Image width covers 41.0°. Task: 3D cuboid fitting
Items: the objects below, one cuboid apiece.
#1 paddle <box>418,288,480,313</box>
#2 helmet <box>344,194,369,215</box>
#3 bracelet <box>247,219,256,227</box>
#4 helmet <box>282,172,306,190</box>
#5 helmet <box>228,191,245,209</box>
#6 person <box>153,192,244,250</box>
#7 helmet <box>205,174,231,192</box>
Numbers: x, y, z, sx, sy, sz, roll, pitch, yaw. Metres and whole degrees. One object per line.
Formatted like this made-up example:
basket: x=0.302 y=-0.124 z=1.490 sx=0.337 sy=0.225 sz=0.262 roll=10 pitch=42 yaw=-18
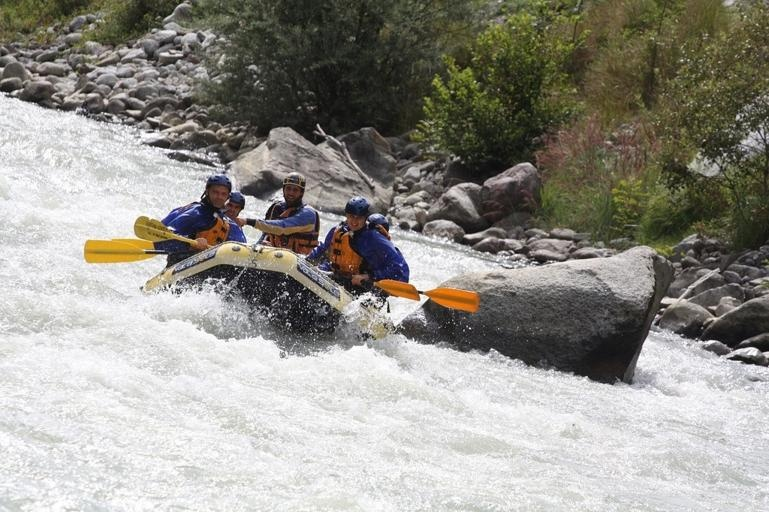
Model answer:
paddle: x=0.954 y=0.564 z=13.836 sx=0.970 sy=0.295 sz=0.139 roll=11 pitch=7 yaw=28
helmet: x=-0.364 y=-0.710 z=14.313 sx=0.302 sy=0.210 sz=0.296 roll=6 pitch=2 yaw=25
bracelet: x=-1.902 y=-0.487 z=14.497 sx=0.124 sy=0.110 sz=0.109 roll=24 pitch=18 yaw=37
helmet: x=-1.338 y=-1.104 z=14.991 sx=0.304 sy=0.255 sz=0.320 roll=14 pitch=2 yaw=1
helmet: x=-2.127 y=-0.826 z=14.697 sx=0.196 sy=0.228 sz=0.251 roll=20 pitch=-29 yaw=-6
person: x=-2.625 y=-0.485 z=14.485 sx=1.317 sy=0.729 sz=0.720 roll=8 pitch=0 yaw=-45
helmet: x=-2.328 y=-1.034 z=14.299 sx=0.338 sy=0.224 sz=0.222 roll=10 pitch=15 yaw=-12
